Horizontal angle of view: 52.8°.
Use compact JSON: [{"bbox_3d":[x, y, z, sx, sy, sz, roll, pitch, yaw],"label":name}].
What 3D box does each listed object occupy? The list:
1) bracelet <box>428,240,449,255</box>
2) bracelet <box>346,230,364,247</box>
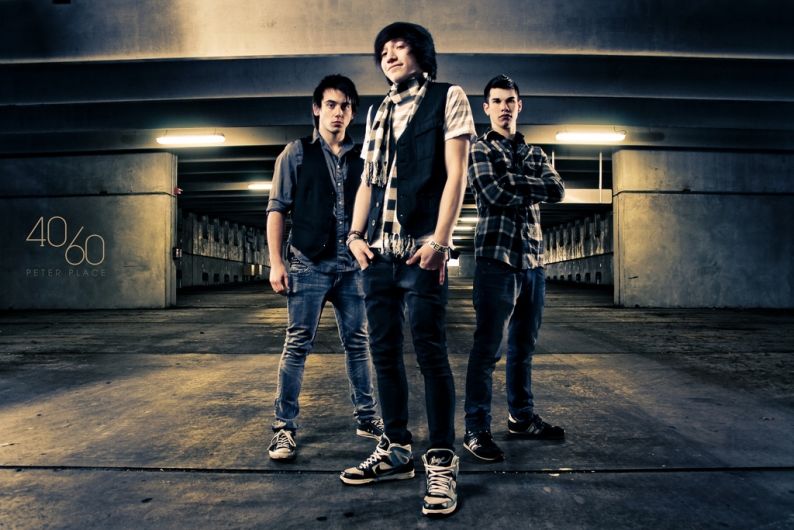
[{"bbox_3d":[0.460,-0.192,8.873,0.196,0.063,0.166,13,-5,-1],"label":"bracelet"},{"bbox_3d":[-0.476,-0.321,9.190,0.174,0.088,0.188,-5,-4,19],"label":"bracelet"}]
